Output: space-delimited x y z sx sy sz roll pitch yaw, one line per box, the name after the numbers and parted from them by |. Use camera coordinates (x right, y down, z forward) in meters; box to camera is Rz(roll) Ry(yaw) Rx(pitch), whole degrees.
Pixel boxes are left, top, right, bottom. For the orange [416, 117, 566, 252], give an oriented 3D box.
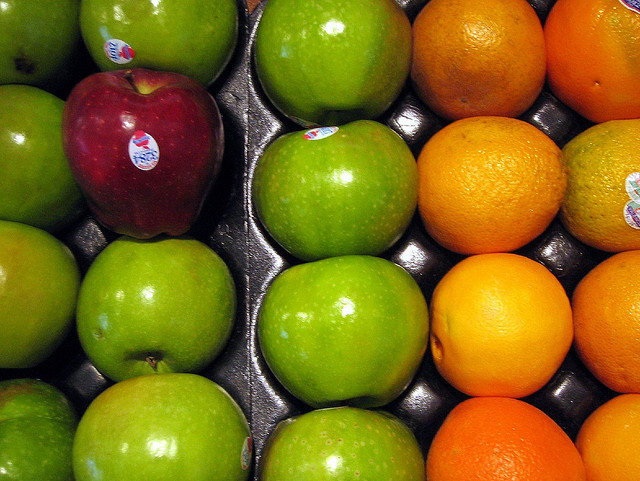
0.256 -0.081 0.961 0.194 0.191 0.210 -8 91 13 | orange

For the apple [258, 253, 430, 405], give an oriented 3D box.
0.042 0.155 0.919 0.228 0.209 0.235 6 83 30 | apple

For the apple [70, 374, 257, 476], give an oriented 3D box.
-0.217 0.263 0.839 0.161 0.171 0.171 -15 70 -4 | apple

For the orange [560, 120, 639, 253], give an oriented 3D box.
0.413 -0.080 0.901 0.125 0.117 0.121 -40 64 6 | orange

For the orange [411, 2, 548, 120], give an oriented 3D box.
0.231 -0.261 0.920 0.178 0.186 0.182 -3 57 13 | orange

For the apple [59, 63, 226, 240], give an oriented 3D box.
-0.270 -0.135 0.950 0.235 0.256 0.250 -8 41 -25 | apple

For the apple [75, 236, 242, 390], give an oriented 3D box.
-0.256 0.106 0.969 0.248 0.221 0.248 1 97 -33 | apple

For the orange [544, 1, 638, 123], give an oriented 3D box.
0.415 -0.281 0.927 0.157 0.120 0.119 11 59 3 | orange

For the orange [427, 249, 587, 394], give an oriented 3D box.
0.256 0.113 0.956 0.210 0.216 0.216 22 76 -15 | orange

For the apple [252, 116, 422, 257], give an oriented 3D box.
0.004 -0.056 0.951 0.215 0.233 0.184 26 67 -11 | apple
